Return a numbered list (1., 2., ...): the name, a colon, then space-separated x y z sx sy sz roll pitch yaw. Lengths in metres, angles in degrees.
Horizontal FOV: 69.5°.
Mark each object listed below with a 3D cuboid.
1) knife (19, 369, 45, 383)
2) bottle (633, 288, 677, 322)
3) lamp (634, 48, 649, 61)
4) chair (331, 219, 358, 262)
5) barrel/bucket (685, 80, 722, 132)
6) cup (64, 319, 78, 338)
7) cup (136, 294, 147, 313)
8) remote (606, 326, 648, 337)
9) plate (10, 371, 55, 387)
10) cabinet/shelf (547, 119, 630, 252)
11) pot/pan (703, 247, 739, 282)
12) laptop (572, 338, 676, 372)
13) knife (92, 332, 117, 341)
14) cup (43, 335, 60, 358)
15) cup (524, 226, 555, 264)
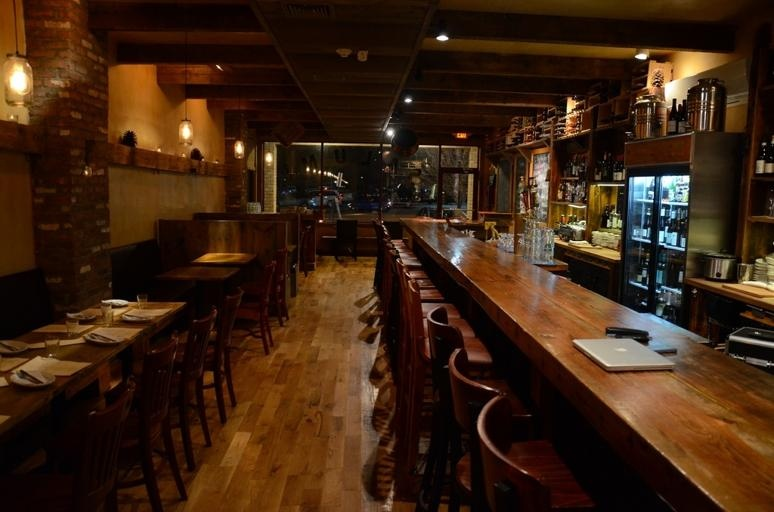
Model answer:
1. knife: -2.367 0.801 3.744 0.157 0.041 0.095 20 10 29
2. bottle: 3.096 0.545 6.346 0.225 0.367 0.408 0 0 -10
3. lamp: 3.342 -2.610 7.260 0.228 0.171 0.233 8 14 23
4. chair: -1.050 -0.421 13.963 0.527 1.013 0.887 -2 8 -7
5. barrel/bucket: 3.571 -1.675 6.208 0.375 0.591 0.309 3 9 27
6. cup: -2.521 0.581 4.458 0.128 0.146 0.130 1 -5 0
7. cup: -2.245 0.405 5.111 0.081 0.134 0.315 -5 9 -27
8. remote: 1.551 0.486 3.609 0.114 0.031 0.119 -2 1 -33
9. plate: -2.394 0.818 3.744 0.307 0.078 0.155 1 8 10
10. cabinet/shelf: 3.259 -1.128 8.867 0.627 2.183 2.346 1 3 -1
11. pot/pan: 3.640 0.087 6.078 0.312 0.271 0.311 1 8 16
12. laptop: 1.434 0.591 3.378 0.514 0.112 0.311 -1 8 -5
13. knife: -2.217 0.629 4.368 0.233 0.041 0.099 2 8 20
14. cup: -2.478 0.667 4.113 0.111 0.170 0.106 1 7 0
15. cup: 1.635 -0.125 5.957 0.379 0.453 0.344 1 4 2
